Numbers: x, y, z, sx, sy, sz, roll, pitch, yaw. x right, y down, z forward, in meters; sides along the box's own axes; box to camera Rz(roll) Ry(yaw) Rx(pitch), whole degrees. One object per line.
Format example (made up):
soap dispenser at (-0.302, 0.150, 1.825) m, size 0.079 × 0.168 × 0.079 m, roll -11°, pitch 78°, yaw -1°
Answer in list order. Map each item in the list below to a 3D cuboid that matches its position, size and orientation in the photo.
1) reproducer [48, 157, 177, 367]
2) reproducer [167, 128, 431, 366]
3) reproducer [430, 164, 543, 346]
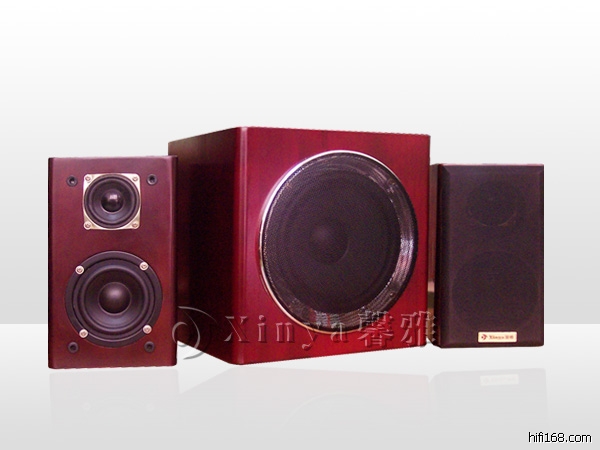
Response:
reproducer at (-0.618, 0.050, 1.816) m, size 0.413 × 0.661 × 0.399 m, roll 1°, pitch 20°, yaw -14°
reproducer at (-0.002, 0.041, 2.096) m, size 0.787 × 0.720 × 0.808 m, roll 0°, pitch 2°, yaw -9°
reproducer at (0.682, 0.038, 2.050) m, size 0.416 × 0.706 × 0.409 m, roll -1°, pitch 27°, yaw 21°
